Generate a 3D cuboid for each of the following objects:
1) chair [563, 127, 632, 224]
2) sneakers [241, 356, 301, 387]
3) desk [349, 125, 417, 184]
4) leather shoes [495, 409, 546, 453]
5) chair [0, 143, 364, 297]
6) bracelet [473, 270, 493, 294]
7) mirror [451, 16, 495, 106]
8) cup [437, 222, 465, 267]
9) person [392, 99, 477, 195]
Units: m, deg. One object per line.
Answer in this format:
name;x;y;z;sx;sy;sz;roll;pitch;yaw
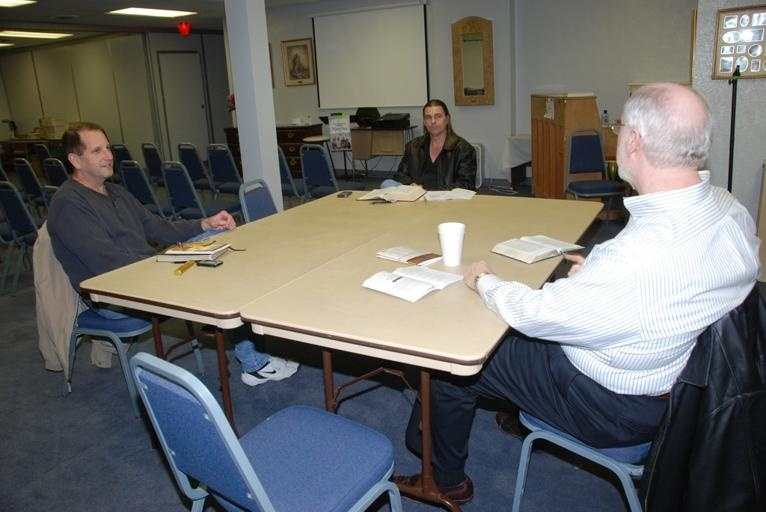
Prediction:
chair;2.212;-0.738;5.898;0.656;1.076;0.740;-10;-15;28
sneakers;-0.704;0.736;3.381;0.375;0.175;0.147;-8;18;-20
desk;0.023;-1.743;8.694;0.949;0.843;0.716;7;19;24
leather shoes;0.700;0.957;2.940;0.112;0.063;0.176;-18;34;-12
chair;-1.518;-0.079;3.617;1.069;1.246;0.964;-1;30;-5
bracelet;0.423;0.115;2.287;0.031;0.078;0.080;15;2;-1
mirror;1.342;-2.808;7.908;0.645;1.242;0.101;10;28;33
cup;0.315;-0.062;2.652;0.177;0.216;0.179;-1;15;0
person;0.422;-0.839;4.576;0.661;0.924;0.622;10;16;27
